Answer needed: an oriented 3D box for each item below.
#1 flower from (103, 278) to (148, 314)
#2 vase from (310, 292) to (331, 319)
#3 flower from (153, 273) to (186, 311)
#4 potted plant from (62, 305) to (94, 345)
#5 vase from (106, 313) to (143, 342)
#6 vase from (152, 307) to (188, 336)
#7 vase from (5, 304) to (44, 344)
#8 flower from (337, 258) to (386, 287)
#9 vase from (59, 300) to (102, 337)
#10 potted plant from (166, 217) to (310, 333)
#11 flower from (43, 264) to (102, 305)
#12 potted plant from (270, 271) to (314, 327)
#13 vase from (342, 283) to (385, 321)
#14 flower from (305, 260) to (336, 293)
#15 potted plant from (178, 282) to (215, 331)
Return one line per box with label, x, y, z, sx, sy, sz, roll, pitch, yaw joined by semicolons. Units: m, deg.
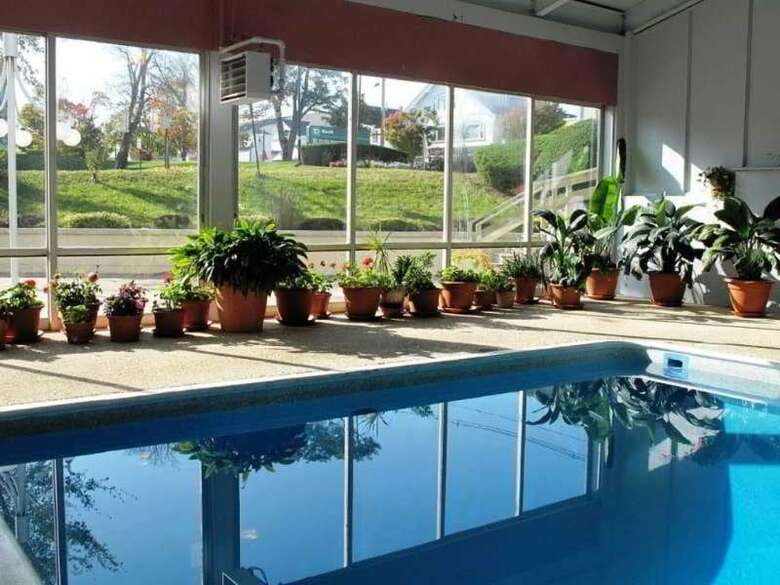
flower;-2.775;0.074;6.608;0.269;0.352;0.341;35;18;29
vase;-0.905;0.150;8.075;0.287;0.320;0.313;-2;5;-29
flower;-2.426;0.010;7.024;0.363;0.418;0.350;4;-15;-14
potted plant;-3.173;0.327;6.392;0.352;0.433;0.368;0;-2;-14
vase;-2.803;0.342;6.577;0.287;0.227;0.294;6;5;37
vase;-2.390;0.332;6.813;0.296;0.277;0.300;-10;-11;41
vase;-3.705;0.318;6.389;0.325;0.279;0.349;0;9;-14
flower;-0.383;-0.216;8.124;0.643;0.274;0.463;4;13;10
vase;-3.227;0.302;6.509;0.350;0.292;0.365;0;-2;-11
potted plant;-1.724;-0.220;7.225;1.273;1.040;1.311;3;-5;-34
flower;-3.355;-0.039;6.708;0.463;0.342;0.437;1;-1;-32
potted plant;-1.154;0.072;7.555;0.552;0.453;0.563;-3;4;-25
vase;-0.375;0.126;7.976;0.416;0.326;0.436;1;0;17
flower;-0.921;-0.203;8.237;0.357;0.429;0.372;1;-5;-9
potted plant;-2.172;0.176;7.123;0.408;0.358;0.445;1;-2;-3
